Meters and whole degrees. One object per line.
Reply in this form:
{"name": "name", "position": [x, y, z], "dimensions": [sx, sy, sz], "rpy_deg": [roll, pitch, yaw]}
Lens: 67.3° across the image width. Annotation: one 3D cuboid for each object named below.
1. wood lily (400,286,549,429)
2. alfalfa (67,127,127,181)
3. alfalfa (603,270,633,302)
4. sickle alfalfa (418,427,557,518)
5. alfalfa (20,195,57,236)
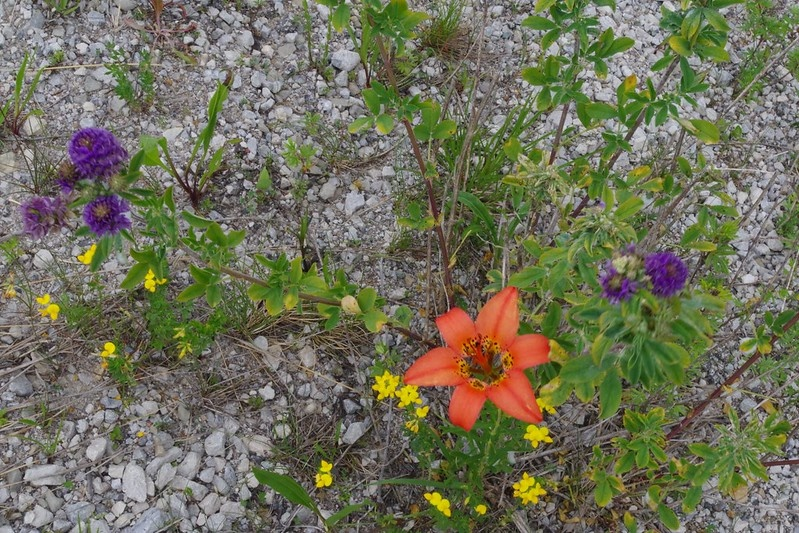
{"name": "wood lily", "position": [0.367, 0.530, 2.821], "dimensions": [0.686, 0.642, 0.604], "rpy_deg": [-12, 66, -13]}
{"name": "alfalfa", "position": [-1.273, -0.474, 2.514], "dimensions": [0.220, 0.139, 0.176], "rpy_deg": [-23, 69, -18]}
{"name": "alfalfa", "position": [0.847, 0.081, 2.336], "dimensions": [0.104, 0.046, 0.117], "rpy_deg": [12, 106, 13]}
{"name": "sickle alfalfa", "position": [0.462, 1.135, 3.271], "dimensions": [0.653, 0.471, 0.499], "rpy_deg": [-11, 111, -29]}
{"name": "alfalfa", "position": [-1.635, -0.226, 2.767], "dimensions": [0.148, 0.164, 0.161], "rpy_deg": [12, 84, -21]}
